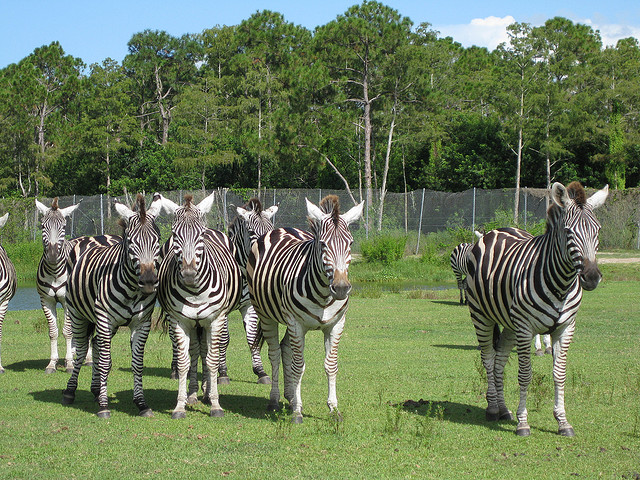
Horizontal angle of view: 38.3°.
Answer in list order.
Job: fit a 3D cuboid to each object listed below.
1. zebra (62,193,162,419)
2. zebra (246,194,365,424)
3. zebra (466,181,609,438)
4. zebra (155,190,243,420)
[{"bbox_3d":[-4.136,1.248,18.608,2.255,4.428,1.057,5,10,28],"label":"zebra"},{"bbox_3d":[-0.289,1.308,18.380,1.175,4.437,2.610,-6,11,-36],"label":"zebra"},{"bbox_3d":[4.145,1.267,17.840,2.391,4.785,1.153,5,10,25],"label":"zebra"},{"bbox_3d":[-2.521,1.263,18.877,1.401,4.447,2.080,1,9,3],"label":"zebra"}]
